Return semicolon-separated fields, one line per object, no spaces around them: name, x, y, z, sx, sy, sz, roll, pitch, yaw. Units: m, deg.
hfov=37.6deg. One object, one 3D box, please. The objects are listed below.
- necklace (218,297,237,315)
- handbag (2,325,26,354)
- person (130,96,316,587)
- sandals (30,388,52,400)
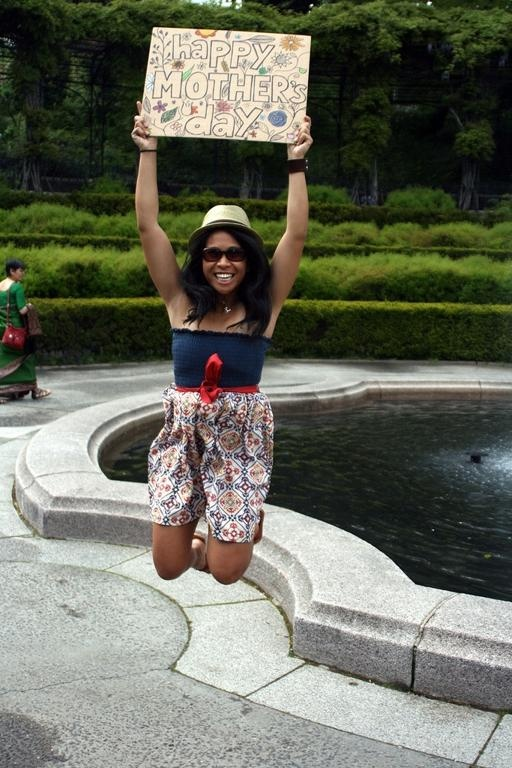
necklace;-0.109;-0.284;2.726;0.052;0.077;0.073;6;5;-3
handbag;-2.796;-0.519;8.646;0.302;0.291;0.119;13;2;-23
person;-0.167;-0.135;2.738;0.655;1.683;0.468;3;7;1
sandals;-2.556;0.117;8.987;0.242;0.161;0.086;-17;23;-37
